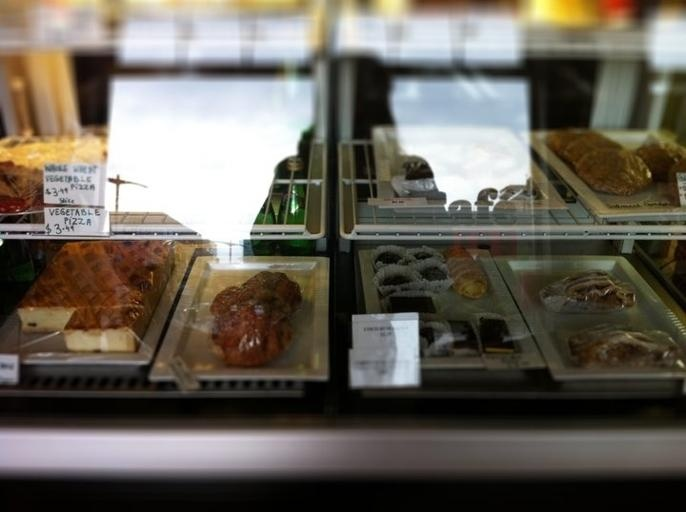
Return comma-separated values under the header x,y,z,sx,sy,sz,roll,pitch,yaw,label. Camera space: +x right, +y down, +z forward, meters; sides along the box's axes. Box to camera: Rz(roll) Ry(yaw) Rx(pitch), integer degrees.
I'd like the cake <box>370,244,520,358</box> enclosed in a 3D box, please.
x,y,z,sx,sy,sz,roll,pitch,yaw,label
0.302,0.127,1.669,0.483,0.199,0.381,2,24,7,cake

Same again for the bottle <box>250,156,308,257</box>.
x,y,z,sx,sy,sz,roll,pitch,yaw,label
-0.202,-0.135,1.692,0.199,0.347,0.268,-3,25,-3,bottle

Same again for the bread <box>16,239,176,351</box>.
x,y,z,sx,sy,sz,roll,pitch,yaw,label
-0.733,0.110,1.592,0.369,0.092,0.340,6,48,1,bread

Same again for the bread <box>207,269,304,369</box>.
x,y,z,sx,sy,sz,roll,pitch,yaw,label
-0.260,0.186,1.594,0.275,0.168,0.276,-4,24,-8,bread
